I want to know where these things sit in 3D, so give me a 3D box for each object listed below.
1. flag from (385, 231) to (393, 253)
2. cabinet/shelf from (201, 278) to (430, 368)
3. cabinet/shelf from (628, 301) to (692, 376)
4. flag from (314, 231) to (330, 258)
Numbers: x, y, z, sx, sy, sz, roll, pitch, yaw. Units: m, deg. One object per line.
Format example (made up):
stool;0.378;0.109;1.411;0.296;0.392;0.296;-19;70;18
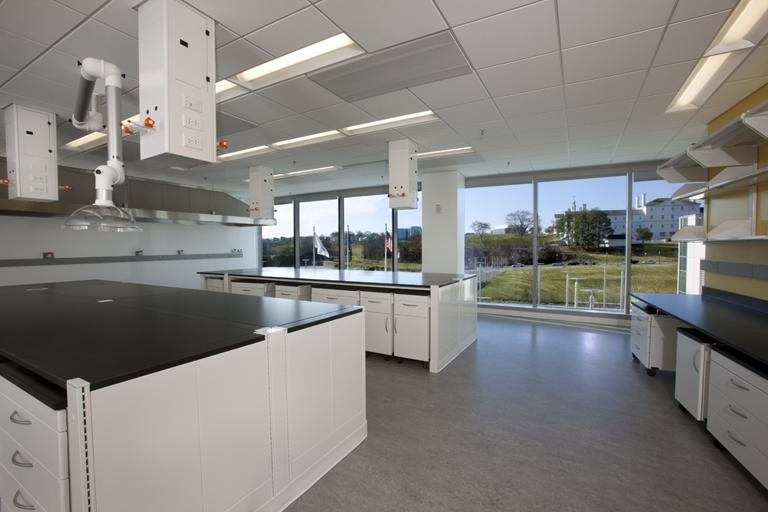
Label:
flag;0.105;-0.305;10.617;0.185;0.479;0.024;1;3;37
cabinet/shelf;-0.838;0.879;6.786;3.263;1.072;0.372;0;3;29
cabinet/shelf;3.268;0.981;5.969;0.646;0.917;0.994;1;4;15
flag;-1.496;-0.292;11.660;0.626;0.753;0.086;2;4;40
